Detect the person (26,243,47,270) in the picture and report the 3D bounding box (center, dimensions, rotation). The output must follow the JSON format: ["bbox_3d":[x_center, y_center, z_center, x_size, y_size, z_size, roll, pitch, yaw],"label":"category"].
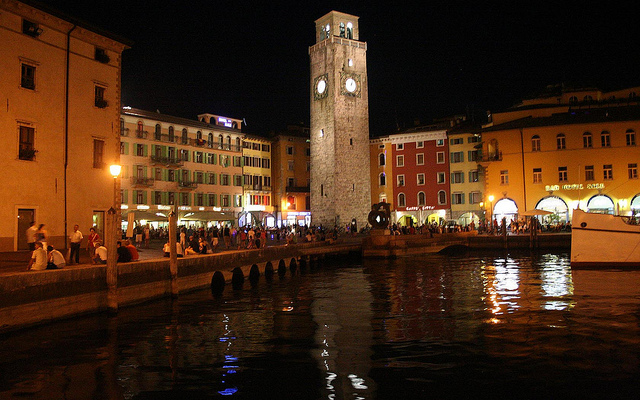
[{"bbox_3d":[-13.465,2.725,33.728,0.796,1.220,0.862,-6,12,-30],"label":"person"}]

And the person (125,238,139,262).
[{"bbox_3d":[-10.792,2.884,40.584,0.916,1.318,0.861,-15,9,-30],"label":"person"}]

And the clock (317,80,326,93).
[{"bbox_3d":[0.191,-12.805,79.980,0.140,1.398,1.801,-6,11,-29],"label":"clock"}]

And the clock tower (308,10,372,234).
[{"bbox_3d":[2.485,-8.918,79.348,5.938,23.886,7.660,-5,11,-24],"label":"clock tower"}]

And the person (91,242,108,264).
[{"bbox_3d":[-11.732,2.918,37.481,0.735,1.267,3.005,-4,10,-20],"label":"person"}]

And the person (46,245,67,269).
[{"bbox_3d":[-12.790,2.893,34.159,0.801,0.842,0.529,-2,10,-8],"label":"person"}]

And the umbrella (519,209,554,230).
[{"bbox_3d":[19.591,1.843,63.868,2.096,1.147,1.823,-2,-1,-38],"label":"umbrella"}]
